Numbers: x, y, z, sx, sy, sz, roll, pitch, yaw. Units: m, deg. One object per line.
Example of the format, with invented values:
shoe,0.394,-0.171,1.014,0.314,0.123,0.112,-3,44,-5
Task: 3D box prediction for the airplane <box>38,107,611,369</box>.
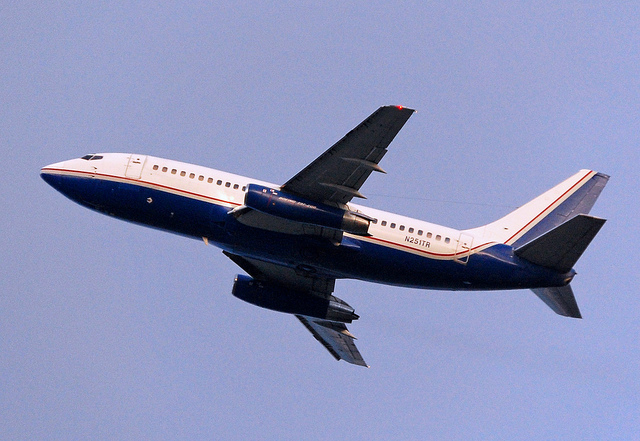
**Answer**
airplane,1.351,1.080,50.245,21.280,11.703,11.585,-20,-45,6
